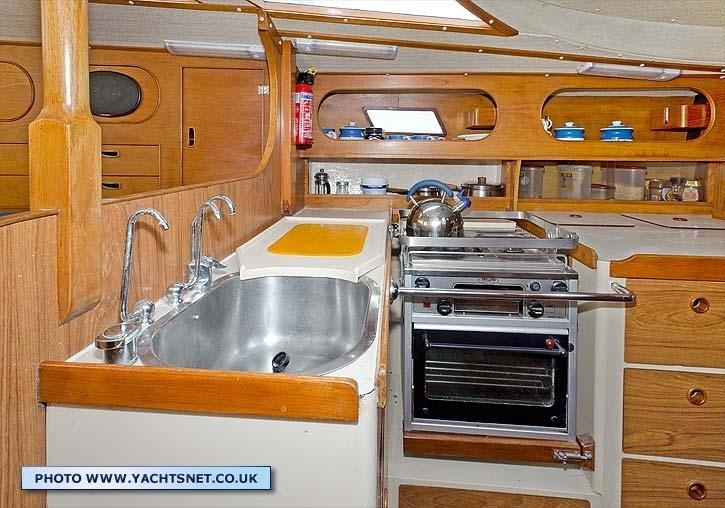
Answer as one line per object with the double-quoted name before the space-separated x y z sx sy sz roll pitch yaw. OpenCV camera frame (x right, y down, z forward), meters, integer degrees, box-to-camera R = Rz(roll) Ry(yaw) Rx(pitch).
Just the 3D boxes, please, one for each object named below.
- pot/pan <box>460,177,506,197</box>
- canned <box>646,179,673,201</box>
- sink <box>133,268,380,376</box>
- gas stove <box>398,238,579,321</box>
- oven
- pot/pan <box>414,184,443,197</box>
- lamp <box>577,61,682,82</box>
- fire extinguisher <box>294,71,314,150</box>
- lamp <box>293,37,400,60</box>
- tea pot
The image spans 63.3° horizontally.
"pot/pan" 0.690 -0.373 3.332 0.227 0.088 0.165 -7 13 -39
"canned" 1.698 -0.370 3.348 0.152 0.118 0.111 4 -4 -40
"sink" -0.254 0.214 1.794 0.391 0.144 0.467 2 9 4
"gas stove" 0.490 0.104 2.268 0.686 0.319 0.565 3 4 2
"oven" 0.623 0.539 2.516 0.727 0.404 0.493 -5 -19 34
"pot/pan" 0.367 -0.351 3.202 0.090 0.066 0.079 -1 7 -4
"lamp" 1.349 -0.926 2.963 0.347 0.053 0.163 1 8 -8
"fire extinguisher" -0.302 -0.742 3.015 0.099 0.371 0.317 3 5 -4
"lamp" -0.076 -0.966 2.754 0.404 0.050 0.085 0 12 -2
"tea pot" 0.332 -0.197 2.596 0.420 0.286 0.268 -1 15 6
